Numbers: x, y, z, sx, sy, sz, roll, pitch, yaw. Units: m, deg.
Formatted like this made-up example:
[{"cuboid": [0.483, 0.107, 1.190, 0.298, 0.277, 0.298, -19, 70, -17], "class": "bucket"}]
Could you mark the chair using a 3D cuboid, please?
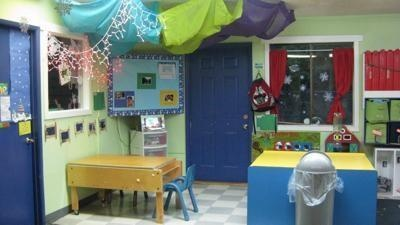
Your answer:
[{"cuboid": [-0.305, 1.598, 6.640, 1.019, 1.304, 1.002, 1, -2, 12], "class": "chair"}]

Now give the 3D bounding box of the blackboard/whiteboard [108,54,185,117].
[{"cuboid": [-1.359, -0.653, 7.494, 1.657, 1.220, 0.033, 0, 3, -11], "class": "blackboard/whiteboard"}]
